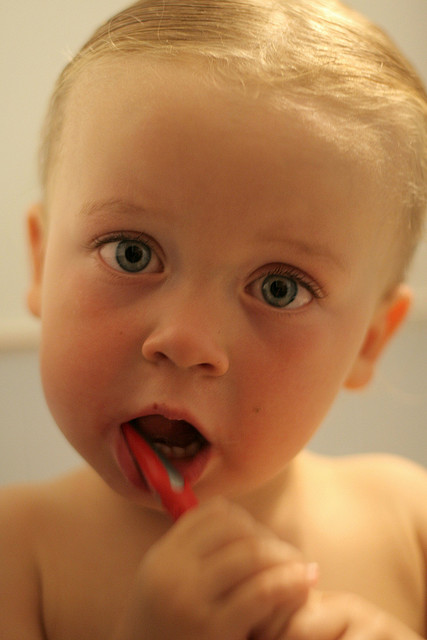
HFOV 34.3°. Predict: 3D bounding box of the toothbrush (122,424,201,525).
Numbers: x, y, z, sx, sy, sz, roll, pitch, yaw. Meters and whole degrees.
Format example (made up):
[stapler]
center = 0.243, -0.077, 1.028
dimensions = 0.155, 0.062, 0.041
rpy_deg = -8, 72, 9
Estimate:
[toothbrush]
center = -0.041, 0.128, 0.588
dimensions = 0.026, 0.108, 0.028
rpy_deg = -41, -2, 3
